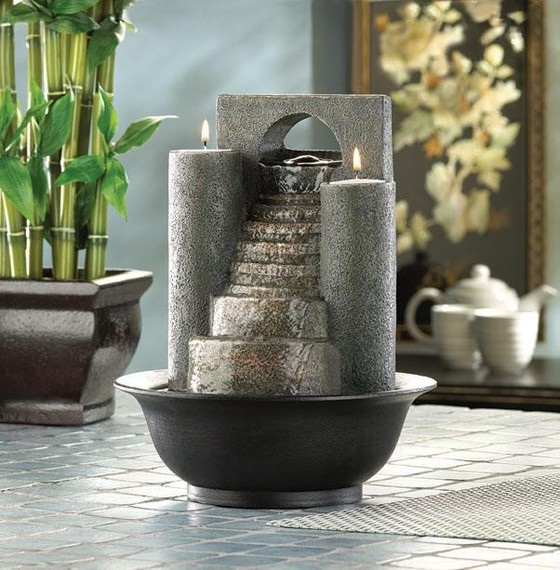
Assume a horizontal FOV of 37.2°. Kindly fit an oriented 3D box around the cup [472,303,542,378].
[{"bbox_3d":[0.600,0.161,2.221,0.214,0.170,0.186,-1,0,-3],"label":"cup"}]
